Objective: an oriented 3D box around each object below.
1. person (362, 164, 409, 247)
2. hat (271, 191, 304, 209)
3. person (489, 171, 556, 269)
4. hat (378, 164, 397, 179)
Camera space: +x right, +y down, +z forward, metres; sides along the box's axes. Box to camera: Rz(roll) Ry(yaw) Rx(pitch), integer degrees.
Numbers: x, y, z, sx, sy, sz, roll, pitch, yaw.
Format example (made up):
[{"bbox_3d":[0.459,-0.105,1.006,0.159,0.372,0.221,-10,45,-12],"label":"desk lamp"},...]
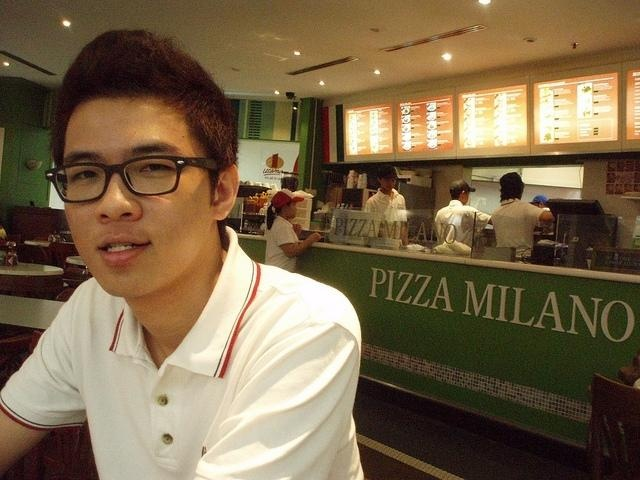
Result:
[{"bbox_3d":[0.649,-0.373,4.568,0.399,0.786,1.240,2,3,8],"label":"person"},{"bbox_3d":[-0.330,-0.406,4.631,0.162,0.108,0.261,9,17,43],"label":"hat"},{"bbox_3d":[1.842,-0.161,4.313,0.550,0.926,0.506,2,6,42],"label":"person"},{"bbox_3d":[0.724,-0.723,4.886,0.133,0.159,0.165,-3,3,4],"label":"hat"}]
